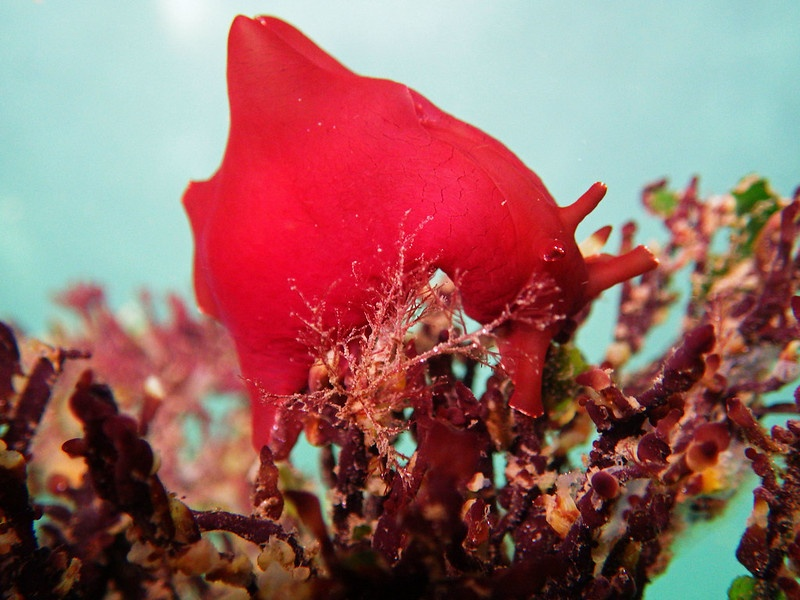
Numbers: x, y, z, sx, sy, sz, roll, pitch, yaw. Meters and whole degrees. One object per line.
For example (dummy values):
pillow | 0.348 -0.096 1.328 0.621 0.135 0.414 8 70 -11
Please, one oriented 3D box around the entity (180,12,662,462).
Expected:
entity | 0.000 -0.237 2.112 1.054 0.701 0.957 -3 -65 10
